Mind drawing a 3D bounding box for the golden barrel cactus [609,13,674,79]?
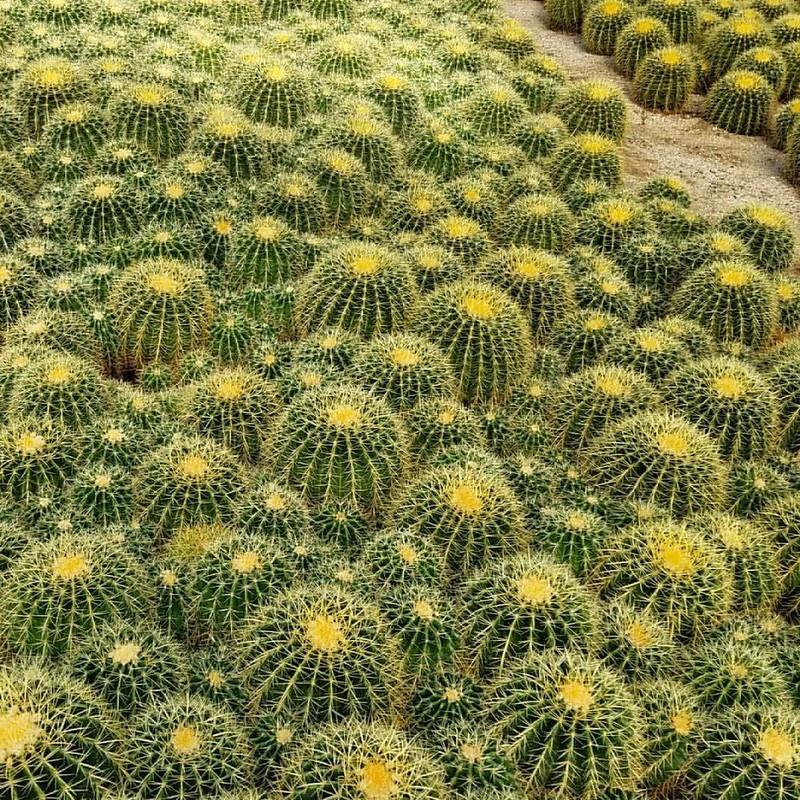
[{"bbox_3d":[2.897,-4.248,14.086,0.648,0.703,0.689,16,51,26],"label":"golden barrel cactus"}]

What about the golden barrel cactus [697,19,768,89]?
[{"bbox_3d":[4.042,-4.175,14.258,0.672,0.728,0.724,2,52,10],"label":"golden barrel cactus"}]

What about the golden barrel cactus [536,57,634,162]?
[{"bbox_3d":[1.932,-3.062,12.362,0.743,0.793,0.753,-15,31,-19],"label":"golden barrel cactus"}]

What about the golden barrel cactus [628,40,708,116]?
[{"bbox_3d":[3.076,-3.746,13.710,0.735,0.793,0.747,-14,35,-19],"label":"golden barrel cactus"}]

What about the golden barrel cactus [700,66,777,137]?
[{"bbox_3d":[3.794,-3.394,13.306,0.799,0.867,0.659,19,30,6],"label":"golden barrel cactus"}]

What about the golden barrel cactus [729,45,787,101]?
[{"bbox_3d":[4.182,-3.908,13.830,0.561,0.601,0.577,-13,29,-11],"label":"golden barrel cactus"}]
